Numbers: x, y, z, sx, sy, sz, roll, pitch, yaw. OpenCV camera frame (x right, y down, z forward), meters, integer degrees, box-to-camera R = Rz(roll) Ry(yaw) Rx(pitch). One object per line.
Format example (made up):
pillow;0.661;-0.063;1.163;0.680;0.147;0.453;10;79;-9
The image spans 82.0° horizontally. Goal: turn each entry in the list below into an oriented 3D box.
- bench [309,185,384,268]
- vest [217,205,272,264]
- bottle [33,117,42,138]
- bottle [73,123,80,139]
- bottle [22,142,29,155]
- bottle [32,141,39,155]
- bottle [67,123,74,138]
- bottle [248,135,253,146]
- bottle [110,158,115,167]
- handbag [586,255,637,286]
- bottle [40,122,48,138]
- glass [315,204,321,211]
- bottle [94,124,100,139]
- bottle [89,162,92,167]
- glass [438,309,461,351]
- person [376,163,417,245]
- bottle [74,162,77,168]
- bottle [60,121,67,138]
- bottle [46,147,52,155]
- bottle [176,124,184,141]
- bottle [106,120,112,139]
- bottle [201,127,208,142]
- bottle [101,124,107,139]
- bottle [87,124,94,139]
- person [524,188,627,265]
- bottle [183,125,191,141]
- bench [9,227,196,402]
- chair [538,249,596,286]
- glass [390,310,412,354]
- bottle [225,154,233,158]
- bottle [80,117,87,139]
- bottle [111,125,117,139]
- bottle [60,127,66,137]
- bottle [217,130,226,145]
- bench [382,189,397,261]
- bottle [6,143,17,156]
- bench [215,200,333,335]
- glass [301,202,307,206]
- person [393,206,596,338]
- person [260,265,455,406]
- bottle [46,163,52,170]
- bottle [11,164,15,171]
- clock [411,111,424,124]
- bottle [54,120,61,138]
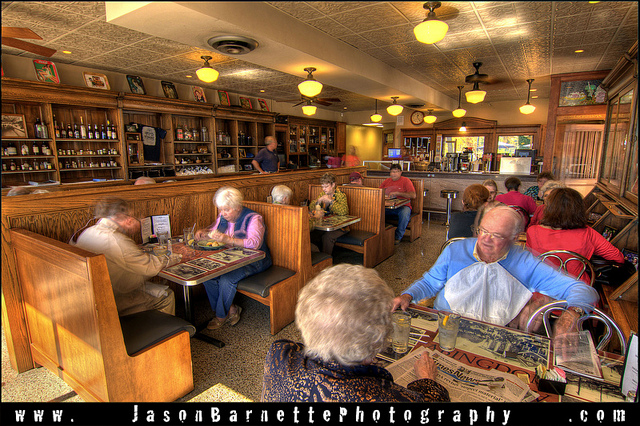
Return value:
bench;0.300;0.168;5.801;1.350;1.066;0.730;8;20;29
vest;-0.827;0.267;4.071;0.574;0.684;0.368;-5;12;-16
bottle;-4.849;-1.449;6.259;0.120;0.335;0.198;-10;14;-34
bottle;-4.486;-1.506;6.706;0.094;0.269;0.194;-7;12;-23
bottle;-4.985;-1.092;6.191;0.068;0.214;0.352;-11;13;-36
bottle;-4.903;-1.112;6.285;0.095;0.225;0.243;-10;13;-34
bottle;-4.551;-1.491;6.640;0.104;0.267;0.201;-9;13;-30
bottle;-1.881;-1.934;9.888;0.089;0.255;0.218;-1;11;4
bottle;-4.083;-0.990;7.174;0.072;0.157;0.140;-6;12;-20
handbag;2.681;0.518;3.347;0.233;0.218;0.281;-14;24;-28
bottle;-4.742;-1.394;6.263;0.044;0.221;0.112;1;12;12
glass;-0.038;-0.084;5.397;0.097;0.078;0.090;3;10;10
bottle;-4.232;-1.529;6.908;0.084;0.283;0.287;-8;13;-28
bottle;-4.343;-0.912;6.915;0.042;0.070;0.082;-9;13;-31
glass;0.825;0.732;2.326;0.118;0.206;0.196;3;11;20
person;1.369;-0.214;7.042;0.980;1.336;0.788;7;16;15
bottle;-4.522;-0.885;6.747;0.041;0.102;0.131;-8;12;-29
bottle;-4.615;-1.487;6.546;0.101;0.296;0.207;-9;13;-29
bottle;-4.726;-1.072;6.360;0.061;0.119;0.104;-6;12;-20
bottle;-3.143;-1.750;8.199;0.149;0.279;0.141;-2;12;0
bottle;-4.036;-1.576;6.992;0.094;0.336;0.159;-7;13;-23
bottle;-2.735;-1.854;8.681;0.201;0.327;0.126;-9;14;-32
bottle;-4.143;-1.546;6.986;0.106;0.283;0.258;-8;13;-28
bottle;-4.301;-1.511;6.827;0.111;0.279;0.270;-8;13;-28
person;2.569;0.145;3.607;0.683;0.805;0.478;15;48;38
bottle;-3.040;-1.755;8.348;0.141;0.236;0.260;-3;10;-7
bench;-1.877;0.876;3.043;1.527;1.088;0.717;7;16;36
chair;2.020;0.446;2.985;0.235;0.313;0.213;-36;36;-24
glass;0.512;0.743;2.300;0.114;0.219;0.201;1;11;14
bottle;-2.303;-1.444;9.297;0.163;0.099;0.206;3;0;2
bottle;-4.388;-1.553;6.730;0.110;0.398;0.256;-9;13;-30
bottle;-3.984;-1.553;7.050;0.072;0.265;0.118;-4;12;-11
bottle;-4.611;-1.436;6.540;0.094;0.173;0.171;-7;12;-25
bottle;-2.470;-1.882;9.174;0.180;0.350;0.339;-1;11;5
bench;1.125;0.210;5.891;0.170;1.011;0.496;1;12;12
bottle;-5.082;-1.039;6.012;0.131;0.208;0.259;-10;13;-37
bench;-0.792;0.455;4.508;1.692;1.123;1.254;8;20;33
glass;-0.249;-0.143;5.835;0.087;0.047;0.079;0;-1;12
person;1.525;0.489;3.060;1.324;1.218;0.733;4;6;32
person;0.167;0.639;1.863;0.939;0.702;0.335;-3;12;-9
bottle;-4.745;-0.804;6.396;0.093;0.106;0.066;18;25;36
bottle;-5.131;-0.752;6.090;0.042;0.102;0.091;-8;13;-28
clock;3.136;-2.996;11.625;0.415;0.347;0.098;4;3;35
bottle;-4.641;-1.473;6.425;0.076;0.314;0.336;-10;13;-33
